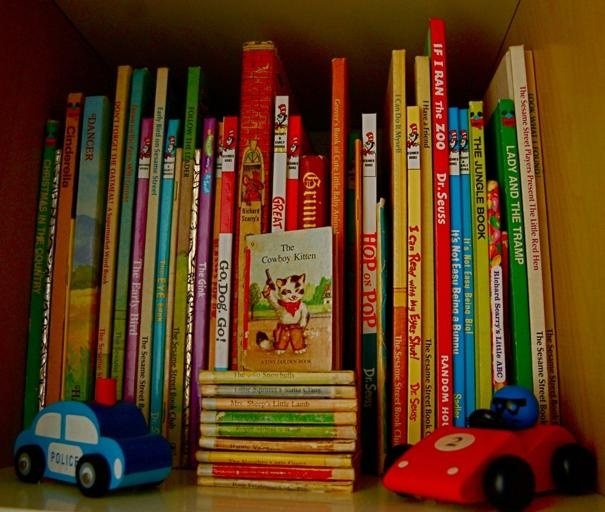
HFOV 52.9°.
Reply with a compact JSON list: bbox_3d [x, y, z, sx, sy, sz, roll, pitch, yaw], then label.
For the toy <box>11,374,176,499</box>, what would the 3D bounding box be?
[{"bbox_3d":[-0.342,0.289,1.001,0.191,0.160,0.156,-4,-11,21],"label":"toy"}]
